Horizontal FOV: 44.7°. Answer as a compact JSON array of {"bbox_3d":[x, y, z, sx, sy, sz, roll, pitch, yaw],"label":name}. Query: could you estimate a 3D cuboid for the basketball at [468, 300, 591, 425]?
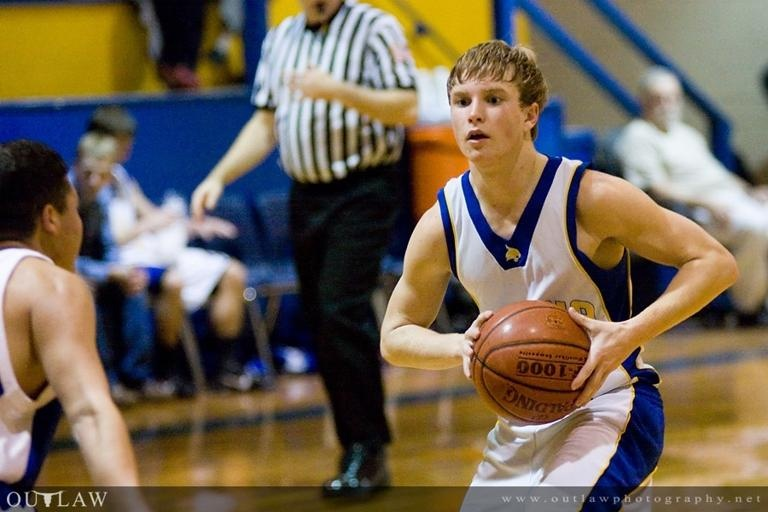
[{"bbox_3d":[0.490,0.330,3.371,0.392,0.412,0.382,-8,14,-14],"label":"basketball"}]
